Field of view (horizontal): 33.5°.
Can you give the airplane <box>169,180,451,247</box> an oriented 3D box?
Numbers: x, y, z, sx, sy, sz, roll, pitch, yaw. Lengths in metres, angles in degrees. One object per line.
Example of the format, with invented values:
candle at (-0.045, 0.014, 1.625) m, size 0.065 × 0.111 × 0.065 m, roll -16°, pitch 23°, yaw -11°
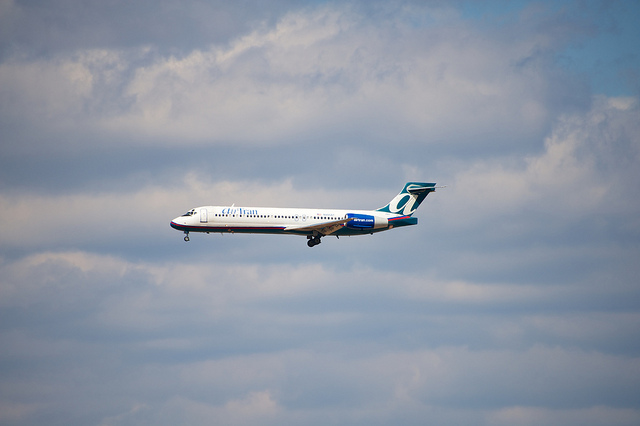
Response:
airplane at (-1.071, 1.188, 112.508) m, size 25.660 × 12.280 × 4.361 m, roll -3°, pitch -81°, yaw -2°
